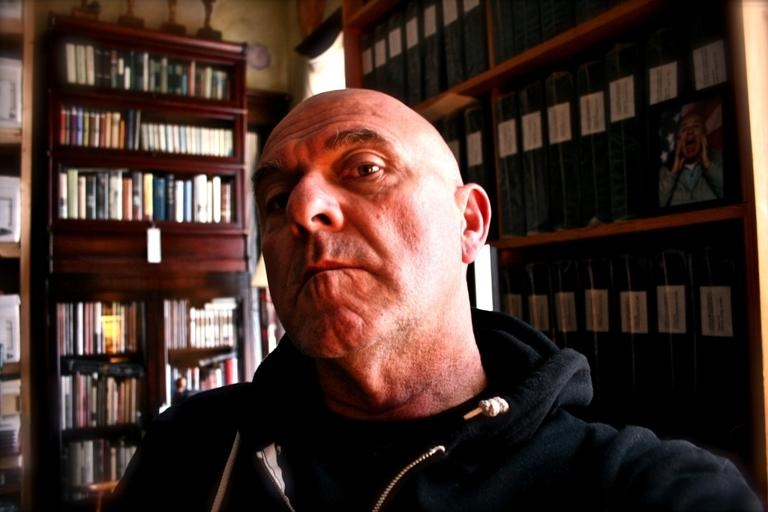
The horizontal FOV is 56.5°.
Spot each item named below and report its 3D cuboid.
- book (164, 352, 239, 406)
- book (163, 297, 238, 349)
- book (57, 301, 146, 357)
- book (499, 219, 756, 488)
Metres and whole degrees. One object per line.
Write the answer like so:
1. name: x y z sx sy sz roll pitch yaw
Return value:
1. book: -1.066 0.692 4.043 0.424 0.433 0.153 2 -8 -25
2. book: -1.181 0.423 4.581 0.521 0.295 0.175 0 3 -29
3. book: -1.714 0.434 4.418 0.508 0.519 0.297 0 11 -9
4. book: 0.899 0.362 2.532 0.845 0.884 0.307 -2 -2 43
